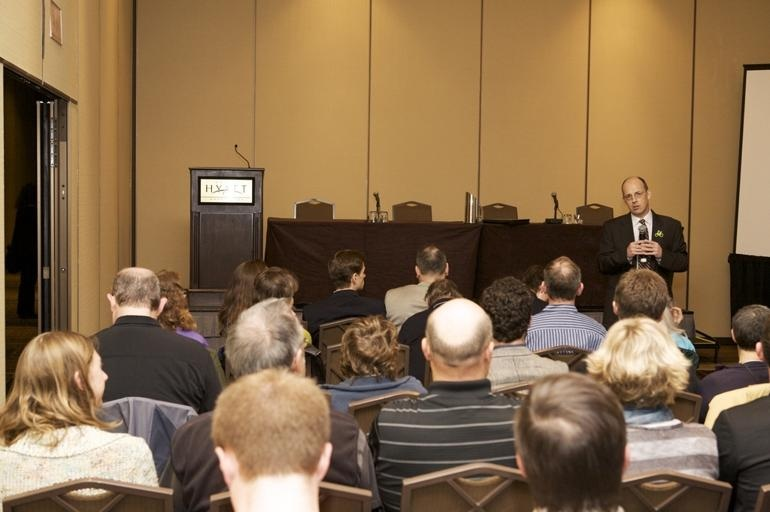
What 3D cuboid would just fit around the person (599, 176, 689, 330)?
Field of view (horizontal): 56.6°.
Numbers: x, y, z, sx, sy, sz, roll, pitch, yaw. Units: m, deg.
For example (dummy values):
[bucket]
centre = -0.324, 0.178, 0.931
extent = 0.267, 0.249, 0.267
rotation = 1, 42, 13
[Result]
[person]
centre = 2.185, 0.383, 6.072
extent = 0.683, 2.057, 0.743
rotation = 2, 1, 19
